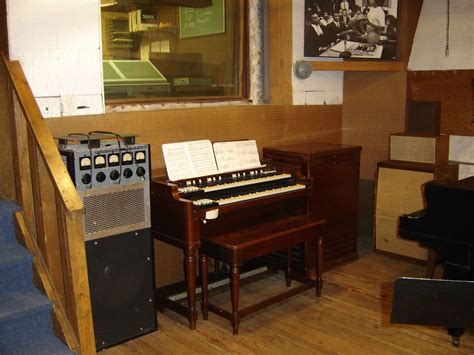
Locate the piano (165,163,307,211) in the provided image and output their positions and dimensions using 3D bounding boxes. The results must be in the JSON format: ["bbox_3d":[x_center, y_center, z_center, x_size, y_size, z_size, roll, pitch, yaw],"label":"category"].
[{"bbox_3d":[0.022,0.070,4.006,1.375,0.202,0.452,-10,17,-35],"label":"piano"}]

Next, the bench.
[{"bbox_3d":[0.268,0.844,4.106,1.271,0.761,0.542,-7,10,-41],"label":"bench"}]

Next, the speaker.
[{"bbox_3d":[-0.941,0.527,3.419,0.625,1.623,0.280,-6,14,-22],"label":"speaker"}]
